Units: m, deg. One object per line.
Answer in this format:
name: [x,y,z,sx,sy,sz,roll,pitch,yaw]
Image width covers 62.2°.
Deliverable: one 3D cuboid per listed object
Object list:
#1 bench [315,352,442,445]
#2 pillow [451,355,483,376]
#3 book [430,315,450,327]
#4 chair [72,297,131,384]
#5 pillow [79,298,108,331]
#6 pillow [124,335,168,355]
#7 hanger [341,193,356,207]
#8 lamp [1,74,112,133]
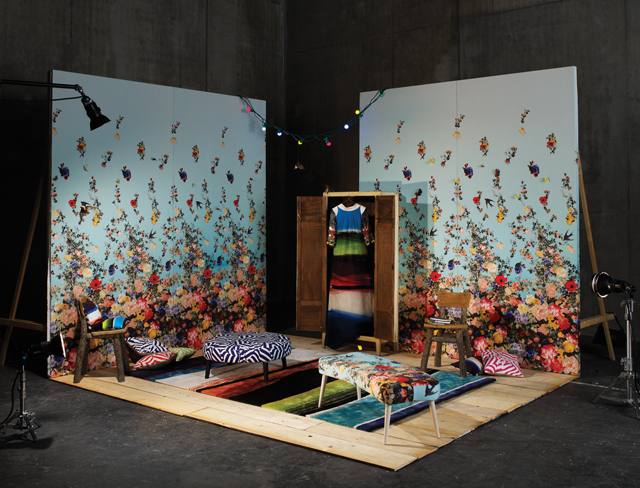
bench: [0.493,1.211,4.315,0.544,0.473,1.034,-3,5,-33]
pillow: [1.613,1.274,5.535,0.170,0.056,0.178,-16,17,-20]
book: [1.301,0.822,5.691,0.209,0.043,0.210,0,4,1]
chair: [-2.267,0.959,5.505,0.514,0.818,0.607,-1,4,-17]
pillow: [-2.316,0.660,5.405,0.106,0.327,0.249,-38,-33,13]
pillow: [-1.957,1.126,5.902,0.248,0.082,0.258,17,4,-24]
hanger: [0.361,-0.545,6.523,0.159,0.228,0.024,4,7,27]
lamp: [-2.509,-1.403,5.333,0.725,0.518,1.167,-2,5,-21]
